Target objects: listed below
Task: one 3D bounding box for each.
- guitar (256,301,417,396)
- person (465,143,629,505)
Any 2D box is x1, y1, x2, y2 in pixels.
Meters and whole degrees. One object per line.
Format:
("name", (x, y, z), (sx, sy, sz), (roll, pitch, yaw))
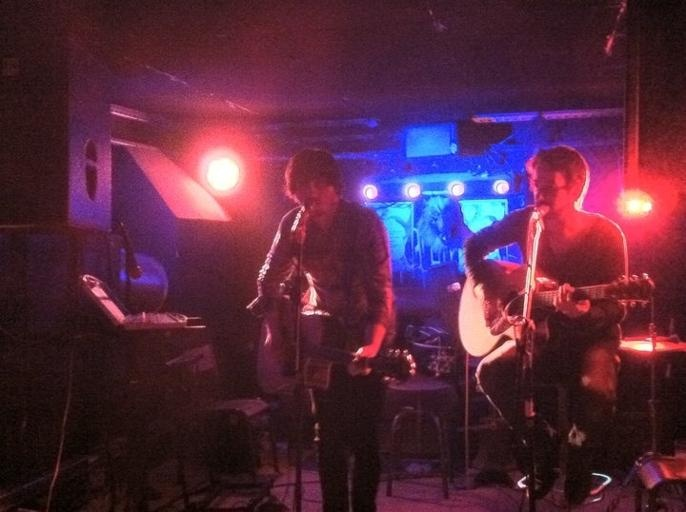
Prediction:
("guitar", (-0.101, 0.564, 4.223), (0.997, 0.597, 0.317), (-4, -9, 35))
("person", (1.416, 0.477, 4.759), (1.025, 2.501, 0.694), (-1, -7, 20))
